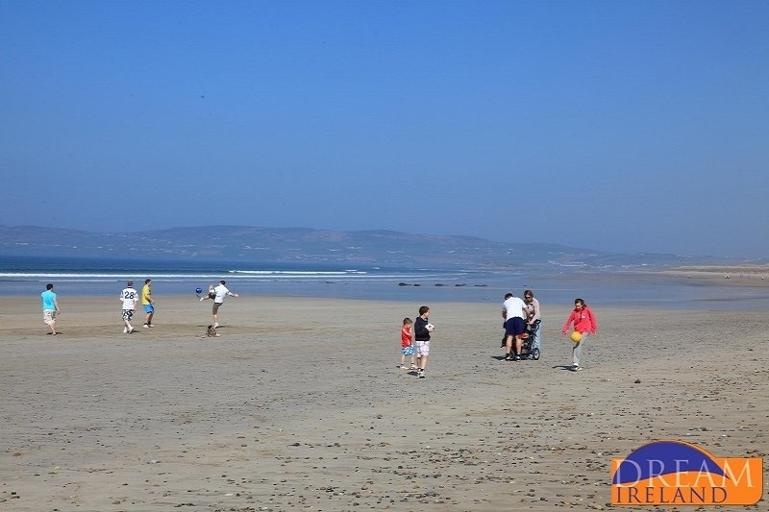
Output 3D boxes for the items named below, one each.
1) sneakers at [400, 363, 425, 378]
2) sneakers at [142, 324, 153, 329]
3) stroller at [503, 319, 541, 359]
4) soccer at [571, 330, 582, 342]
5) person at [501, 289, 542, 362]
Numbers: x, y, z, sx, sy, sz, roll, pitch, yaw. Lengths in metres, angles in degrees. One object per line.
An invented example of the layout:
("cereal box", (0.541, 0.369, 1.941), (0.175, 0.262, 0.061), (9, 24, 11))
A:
("sneakers", (0.760, 3.019, 23.212), (0.243, 0.217, 0.739), (-14, 19, -43))
("sneakers", (-8.823, 2.596, 32.659), (0.154, 0.102, 0.353), (0, -3, -41))
("stroller", (3.987, 2.477, 25.948), (0.940, 0.695, 1.623), (2, 5, 18))
("soccer", (4.980, 2.146, 23.439), (0.414, 0.244, 0.318), (4, 17, 13))
("person", (3.877, 1.987, 25.325), (0.763, 1.311, 1.182), (-1, 1, 37))
